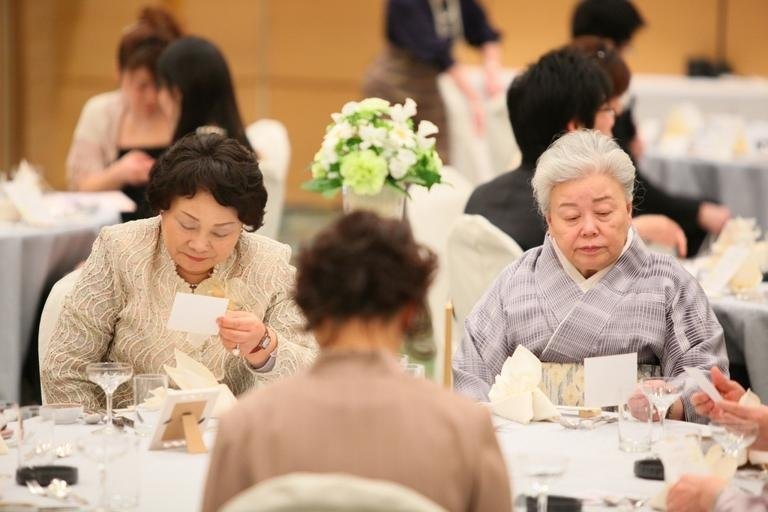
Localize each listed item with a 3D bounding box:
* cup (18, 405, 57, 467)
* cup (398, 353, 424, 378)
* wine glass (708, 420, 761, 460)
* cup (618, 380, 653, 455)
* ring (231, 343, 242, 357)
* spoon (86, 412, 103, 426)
[{"bbox_3d":[-1.046,0.552,2.393,0.130,0.209,0.126,-1,-10,0],"label":"cup"},{"bbox_3d":[0.086,0.361,2.593,0.077,0.087,0.102,1,-3,3],"label":"cup"},{"bbox_3d":[0.928,0.495,2.123,0.074,0.115,0.100,-2,4,-28],"label":"wine glass"},{"bbox_3d":[0.780,0.522,2.479,0.102,0.172,0.104,3,-3,0],"label":"cup"},{"bbox_3d":[-0.512,0.324,2.745,0.021,0.021,0.088,30,5,-13],"label":"ring"},{"bbox_3d":[-0.953,0.540,2.610,0.036,0.025,0.041,1,-12,-4],"label":"spoon"}]
